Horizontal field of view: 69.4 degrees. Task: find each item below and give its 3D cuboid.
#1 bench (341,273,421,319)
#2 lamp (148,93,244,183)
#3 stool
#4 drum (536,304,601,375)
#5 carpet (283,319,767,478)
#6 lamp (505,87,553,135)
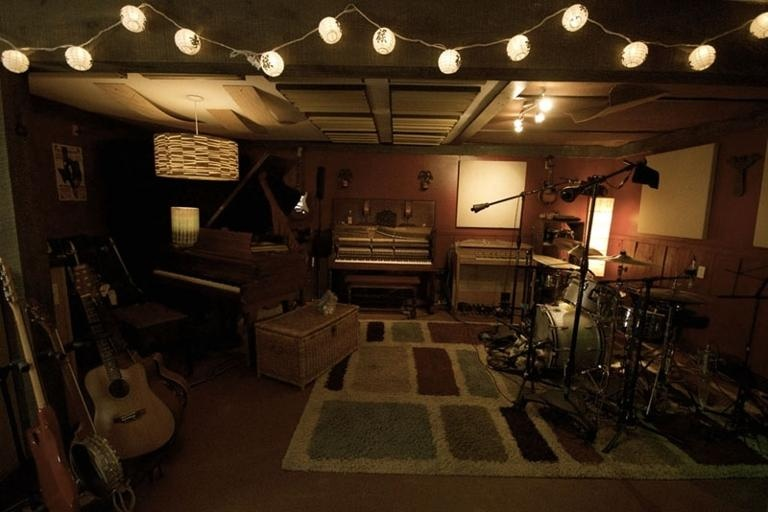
[{"bbox_3d":[-0.033,0.723,9.684,1.271,0.682,0.489,2,10,-1],"label":"bench"},{"bbox_3d":[-2.498,-1.570,7.404,1.120,1.124,1.068,3,5,2],"label":"lamp"},{"bbox_3d":[-3.040,0.926,7.315,0.708,0.457,0.980,-2,9,-42],"label":"stool"},{"bbox_3d":[2.470,1.100,7.733,0.820,1.112,1.139,1,-4,0],"label":"drum"},{"bbox_3d":[1.832,2.039,7.265,5.502,0.931,2.990,6,8,9],"label":"carpet"},{"bbox_3d":[2.163,-2.064,8.036,0.529,0.410,1.397,6,8,13],"label":"lamp"}]
